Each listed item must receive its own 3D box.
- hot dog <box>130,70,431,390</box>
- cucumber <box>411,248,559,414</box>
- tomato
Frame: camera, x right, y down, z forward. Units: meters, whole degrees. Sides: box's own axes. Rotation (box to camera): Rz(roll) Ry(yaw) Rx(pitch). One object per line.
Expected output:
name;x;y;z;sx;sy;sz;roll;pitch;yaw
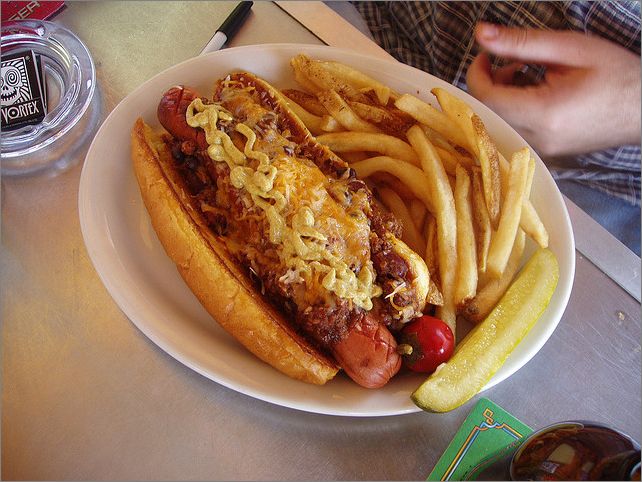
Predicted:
hot dog;-0.313;0.074;3.023;0.982;0.624;1.960;-32;80;-19
cucumber;0.864;0.461;2.638;0.949;0.218;0.152;-43;116;-19
tomato;0.517;0.510;2.657;0.174;0.160;0.178;-23;79;-41
